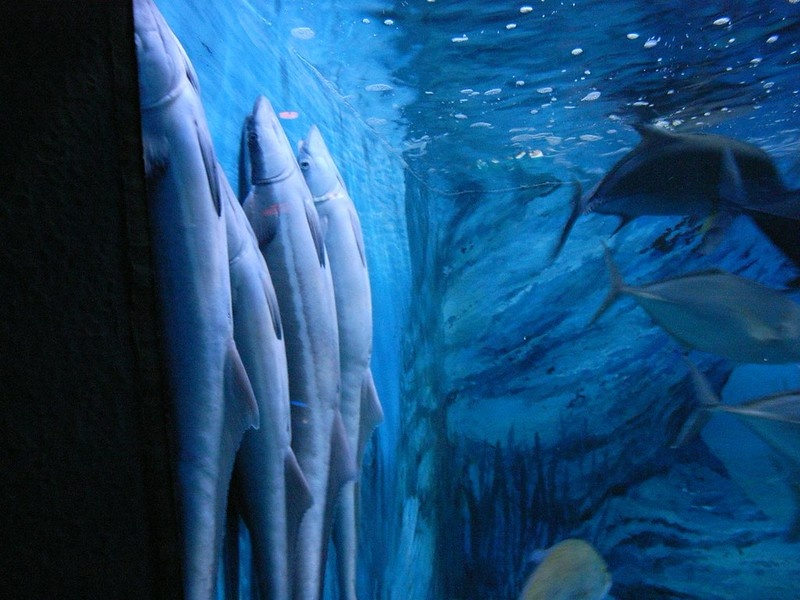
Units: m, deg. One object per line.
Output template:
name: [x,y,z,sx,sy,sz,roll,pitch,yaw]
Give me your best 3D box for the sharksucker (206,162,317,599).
sharksucker: [-0.542,0.394,4.289,0.322,1.535,0.416,-12,-6,33]
